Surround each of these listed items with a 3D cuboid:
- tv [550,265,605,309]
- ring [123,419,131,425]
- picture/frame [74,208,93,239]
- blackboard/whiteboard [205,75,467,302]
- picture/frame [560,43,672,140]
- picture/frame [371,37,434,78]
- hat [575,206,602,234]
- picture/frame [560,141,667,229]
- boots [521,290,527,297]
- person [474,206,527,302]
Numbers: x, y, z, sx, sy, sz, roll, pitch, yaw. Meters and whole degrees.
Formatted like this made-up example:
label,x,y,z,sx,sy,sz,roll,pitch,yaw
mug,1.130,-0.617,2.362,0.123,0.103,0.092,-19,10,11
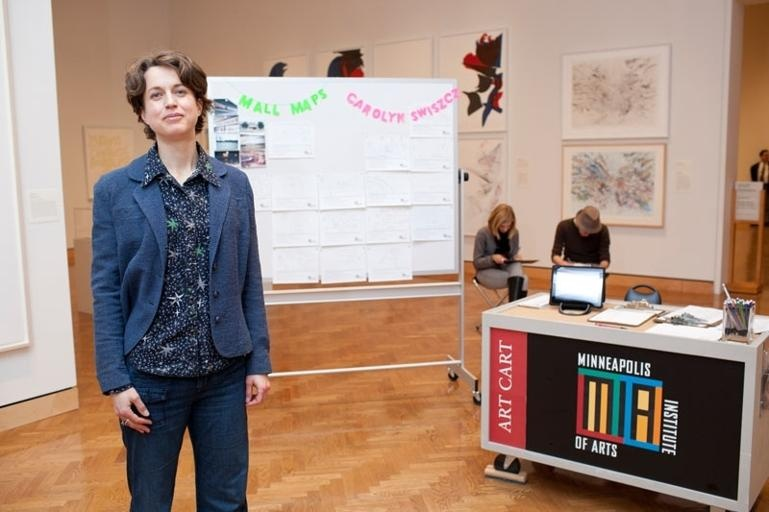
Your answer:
label,x,y,z,sx,sy,sz,roll,pitch,yaw
tv,1.401,0.230,4.212,0.296,0.218,0.117,1,-5,19
ring,-1.128,0.717,2.526,0.029,0.026,0.039,11,-15,-8
picture/frame,-4.414,-0.498,8.465,0.232,0.410,0.612,-8,16,-27
blackboard/whiteboard,-0.414,-0.589,4.660,1.977,1.497,0.042,-1,2,-8
picture/frame,3.470,-2.454,8.549,1.541,1.292,0.175,4,9,28
picture/frame,0.294,-3.551,10.385,1.264,0.644,0.142,9,17,34
hat,2.403,-0.419,6.867,0.312,0.348,0.238,4,15,18
picture/frame,3.422,-1.070,8.521,1.420,1.199,0.056,3,6,35
boots,1.529,0.407,6.422,0.047,0.059,0.086,0,5,28
person,1.363,-0.065,6.870,0.599,1.071,0.894,2,14,9
